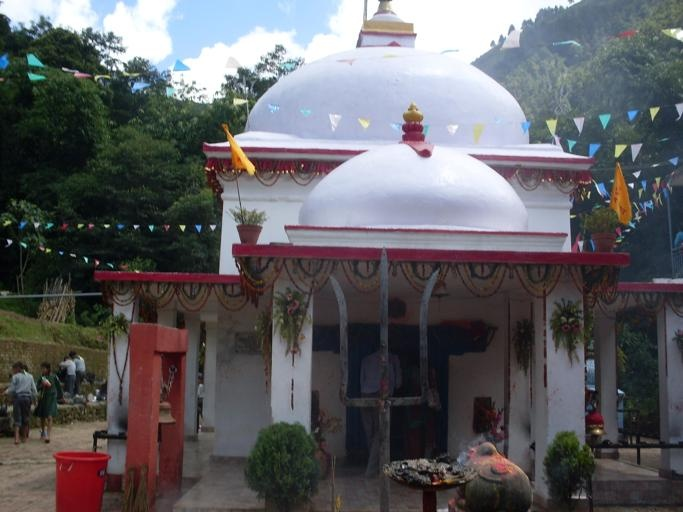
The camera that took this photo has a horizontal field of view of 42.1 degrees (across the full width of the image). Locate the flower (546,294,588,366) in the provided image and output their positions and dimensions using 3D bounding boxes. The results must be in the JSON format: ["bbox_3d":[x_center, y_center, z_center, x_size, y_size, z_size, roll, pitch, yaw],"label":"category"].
[{"bbox_3d":[4.845,1.570,18.884,0.589,1.349,0.672,0,4,11],"label":"flower"}]

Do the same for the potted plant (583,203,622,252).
[{"bbox_3d":[5.766,-0.544,19.531,0.761,1.028,0.817,-5,-17,37],"label":"potted plant"}]

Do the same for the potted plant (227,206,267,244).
[{"bbox_3d":[-2.065,-0.814,19.920,0.713,1.118,0.974,1,26,-10],"label":"potted plant"}]

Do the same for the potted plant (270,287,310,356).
[{"bbox_3d":[-1.034,1.318,18.771,0.728,1.416,0.669,4,13,19],"label":"potted plant"}]
